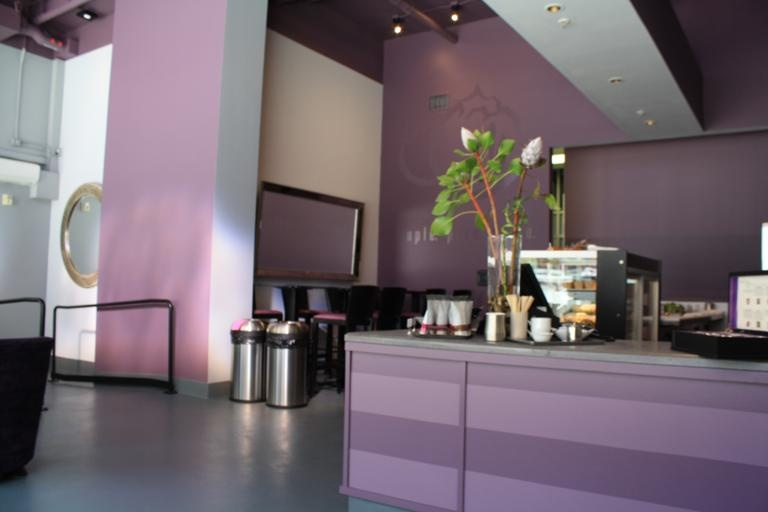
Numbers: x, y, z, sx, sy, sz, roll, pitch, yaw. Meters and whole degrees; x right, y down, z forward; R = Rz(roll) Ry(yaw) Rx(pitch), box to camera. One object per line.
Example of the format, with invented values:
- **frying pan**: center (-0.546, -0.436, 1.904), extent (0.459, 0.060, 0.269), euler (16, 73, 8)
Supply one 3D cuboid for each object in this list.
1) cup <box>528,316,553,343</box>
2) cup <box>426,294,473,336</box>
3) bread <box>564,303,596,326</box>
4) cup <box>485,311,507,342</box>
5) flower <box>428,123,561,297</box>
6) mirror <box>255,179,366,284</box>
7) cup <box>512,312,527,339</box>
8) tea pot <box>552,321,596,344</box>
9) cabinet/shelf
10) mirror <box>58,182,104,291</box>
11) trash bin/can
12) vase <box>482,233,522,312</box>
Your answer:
- **cup**: center (0.913, 0.428, 3.174), extent (0.148, 0.134, 0.097), euler (-3, -9, 28)
- **cup**: center (0.397, 0.364, 3.334), extent (0.377, 0.282, 0.215), euler (4, 2, 9)
- **bread**: center (1.597, 0.470, 4.423), extent (0.229, 0.112, 0.330), euler (-1, -2, 5)
- **cup**: center (0.676, 0.423, 3.312), extent (0.123, 0.169, 0.152), euler (1, 4, 10)
- **flower**: center (0.743, -0.252, 3.602), extent (0.827, 1.224, 0.884), euler (9, -16, -19)
- **mirror**: center (-1.235, -0.394, 8.609), extent (0.061, 1.164, 1.648), euler (-3, -7, 41)
- **cup**: center (0.809, 0.418, 3.284), extent (0.102, 0.171, 0.071), euler (2, 4, 15)
- **tea pot**: center (1.139, 0.459, 3.289), extent (0.190, 0.078, 0.118), euler (0, 1, 25)
- **cabinet/shelf**: center (1.612, 0.197, 4.838), extent (0.885, 0.896, 0.656), euler (0, 0, 43)
- **mirror**: center (-4.619, -0.274, 8.340), extent (1.530, 1.667, 0.113), euler (-7, -12, 38)
- **trash bin/can**: center (-1.264, 1.222, 6.413), extent (0.913, 0.918, 0.914), euler (2, -1, -40)
- **vase**: center (0.751, 0.097, 3.418), extent (0.187, 0.456, 0.104), euler (1, 4, 5)
